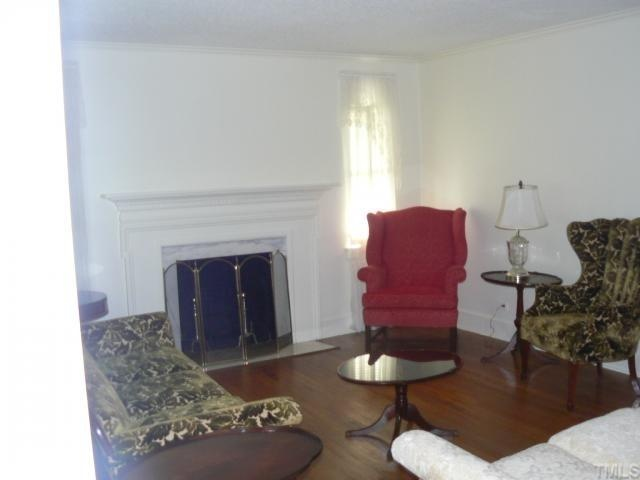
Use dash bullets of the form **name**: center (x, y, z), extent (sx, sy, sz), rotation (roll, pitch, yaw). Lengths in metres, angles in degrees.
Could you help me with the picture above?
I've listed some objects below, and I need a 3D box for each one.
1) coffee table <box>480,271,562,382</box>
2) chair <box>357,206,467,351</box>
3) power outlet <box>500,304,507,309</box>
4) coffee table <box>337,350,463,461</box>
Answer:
- **coffee table**: center (1.707, 0.670, 4.332), extent (0.599, 0.724, 0.600), rotation (-8, 9, -40)
- **chair**: center (0.888, 0.327, 4.721), extent (1.226, 1.263, 1.198), rotation (-3, 4, -24)
- **power outlet**: center (1.763, 0.634, 4.873), extent (0.047, 0.044, 0.064), rotation (-1, -4, 6)
- **coffee table**: center (0.480, 0.963, 3.038), extent (0.657, 0.404, 0.655), rotation (-6, -2, 34)
